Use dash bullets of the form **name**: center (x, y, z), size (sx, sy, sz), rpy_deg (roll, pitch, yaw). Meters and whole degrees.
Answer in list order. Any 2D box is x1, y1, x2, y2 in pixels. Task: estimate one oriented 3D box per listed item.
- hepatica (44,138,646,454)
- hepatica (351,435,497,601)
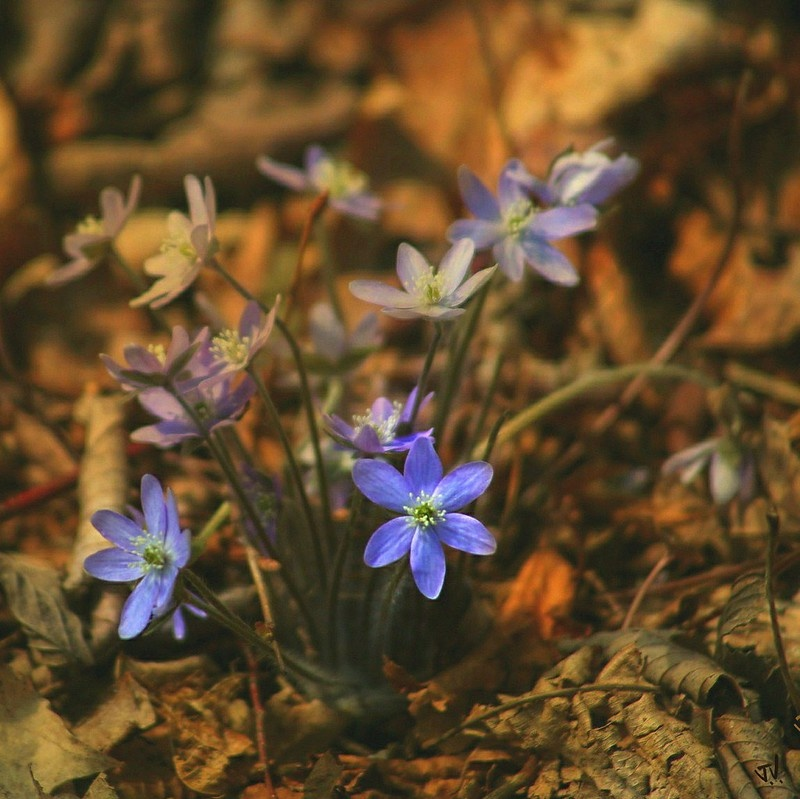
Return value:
- **hepatica**: center (-0.077, -0.176, 1.369), size (0.623, 0.254, 0.440), rpy_deg (-21, 51, -17)
- **hepatica**: center (0.028, 0.146, 1.247), size (0.145, 0.172, 0.140), rpy_deg (-5, 48, -3)
